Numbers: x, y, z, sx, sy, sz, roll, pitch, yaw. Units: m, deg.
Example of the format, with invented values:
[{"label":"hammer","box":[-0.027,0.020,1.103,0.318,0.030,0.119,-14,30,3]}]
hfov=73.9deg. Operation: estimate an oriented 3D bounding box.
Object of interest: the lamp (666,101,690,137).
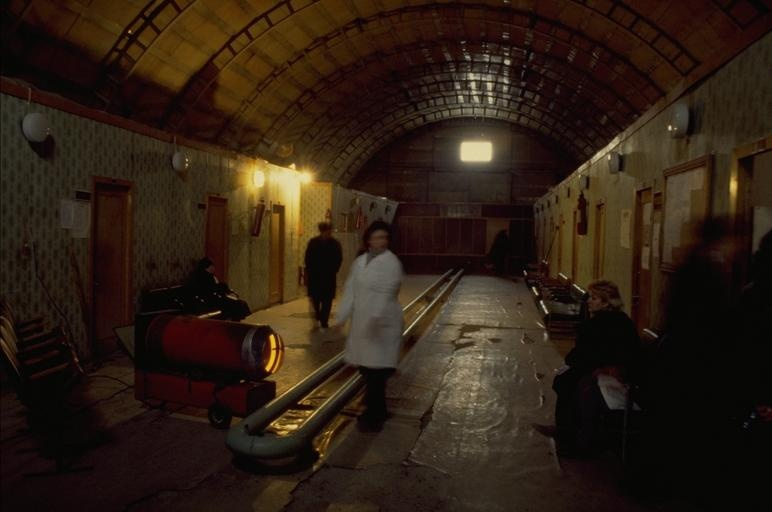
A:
[{"label":"lamp","box":[3.643,-1.676,6.292,0.157,0.437,0.402,3,10,12]}]

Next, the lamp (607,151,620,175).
[{"label":"lamp","box":[3.997,-1.613,8.821,0.137,0.350,0.349,2,10,9]}]

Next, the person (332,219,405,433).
[{"label":"person","box":[-0.185,0.770,5.868,0.761,2.301,0.643,1,10,1]}]

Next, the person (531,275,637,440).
[{"label":"person","box":[2.140,1.135,5.234,0.784,1.696,0.550,6,11,27]}]

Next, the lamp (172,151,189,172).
[{"label":"lamp","box":[-3.730,-1.722,9.229,0.072,0.318,0.319,5,-21,29]}]

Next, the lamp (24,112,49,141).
[{"label":"lamp","box":[-4.746,-1.739,6.925,0.224,0.400,0.358,7,11,32]}]
